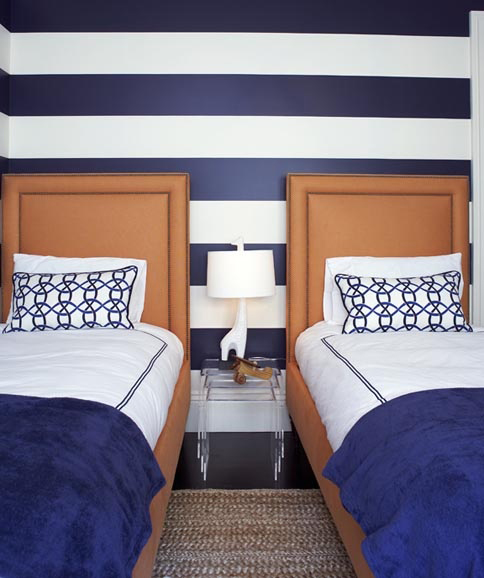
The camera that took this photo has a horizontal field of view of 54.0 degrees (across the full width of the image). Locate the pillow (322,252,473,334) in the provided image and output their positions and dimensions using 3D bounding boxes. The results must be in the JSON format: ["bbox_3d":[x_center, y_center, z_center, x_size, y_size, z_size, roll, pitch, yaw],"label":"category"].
[{"bbox_3d":[0.803,-0.007,2.537,0.732,0.376,0.320,0,4,10],"label":"pillow"}]

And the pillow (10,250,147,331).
[{"bbox_3d":[-0.834,0.003,2.335,0.652,0.347,0.493,0,4,-3],"label":"pillow"}]

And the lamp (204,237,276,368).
[{"bbox_3d":[-0.007,0.059,2.571,0.358,0.669,0.318,-1,3,-4],"label":"lamp"}]
